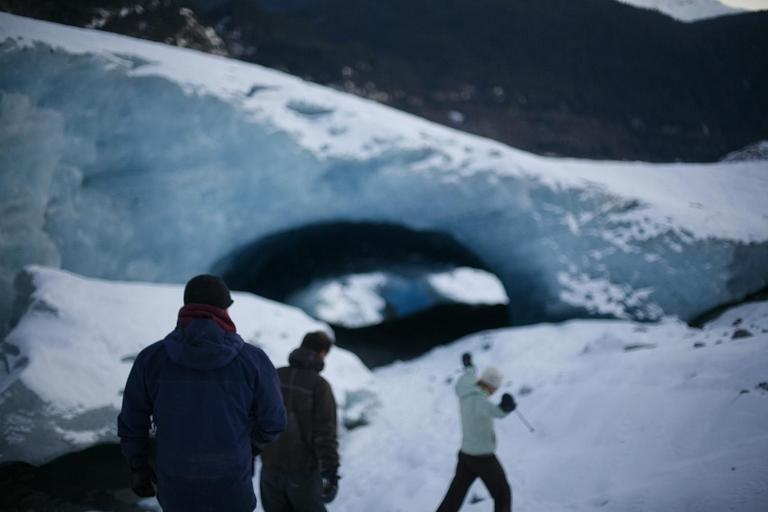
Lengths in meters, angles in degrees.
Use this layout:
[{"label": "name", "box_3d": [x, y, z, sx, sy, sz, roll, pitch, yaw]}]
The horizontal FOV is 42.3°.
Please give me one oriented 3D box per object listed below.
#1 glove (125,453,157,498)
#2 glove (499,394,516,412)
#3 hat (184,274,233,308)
[{"label": "glove", "box_3d": [-1.639, 1.491, 6.749, 0.282, 0.276, 0.123, 2, -1, -9]}, {"label": "glove", "box_3d": [0.936, 1.103, 7.433, 0.112, 0.149, 0.046, -20, -23, 7]}, {"label": "hat", "box_3d": [-1.183, 0.245, 6.670, 0.261, 0.197, 0.238, -1, -8, -29]}]
